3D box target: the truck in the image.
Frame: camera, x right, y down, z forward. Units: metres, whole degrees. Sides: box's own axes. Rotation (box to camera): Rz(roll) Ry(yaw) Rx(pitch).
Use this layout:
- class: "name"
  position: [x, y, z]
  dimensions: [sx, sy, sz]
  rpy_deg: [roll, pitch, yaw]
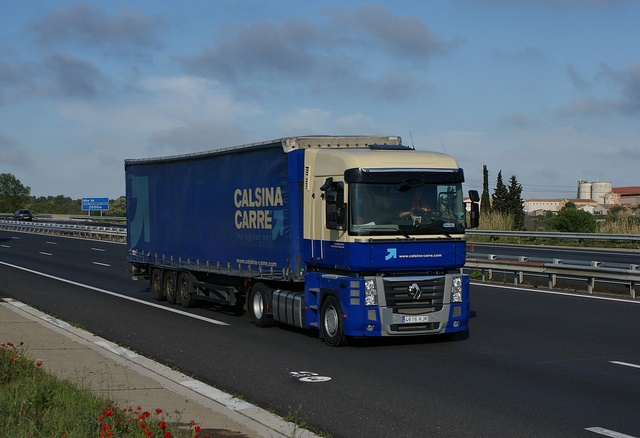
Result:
- class: "truck"
  position: [-2.209, 0.382, 18.126]
  dimensions: [4.607, 6.453, 15.876]
  rpy_deg: [-1, -1, -31]

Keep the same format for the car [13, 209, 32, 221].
- class: "car"
  position: [-55.501, -0.873, 98.137]
  dimensions: [2.371, 1.758, 3.546]
  rpy_deg: [0, 0, -44]

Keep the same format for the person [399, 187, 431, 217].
- class: "person"
  position: [2.179, -0.391, 11.986]
  dimensions: [0.774, 0.728, 0.173]
  rpy_deg: [0, 0, -31]
